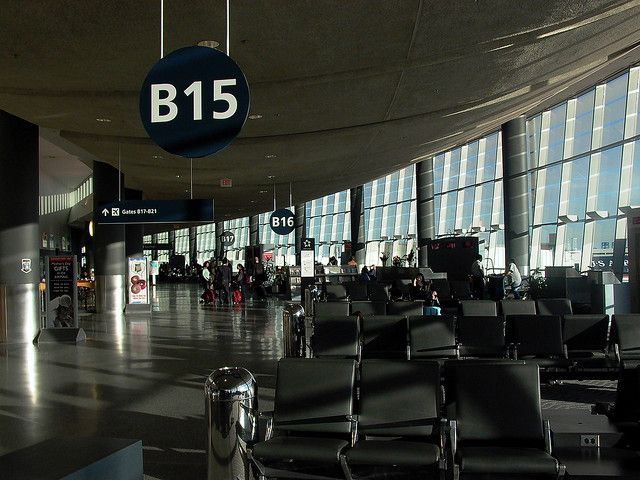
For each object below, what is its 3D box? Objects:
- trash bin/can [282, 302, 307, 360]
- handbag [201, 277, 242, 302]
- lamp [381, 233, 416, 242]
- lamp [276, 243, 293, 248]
[{"bbox_3d":[-0.445,1.506,9.554,0.429,0.842,0.368,-1,-3,6],"label":"trash bin/can"},{"bbox_3d":[-3.957,2.082,23.046,1.105,0.551,1.392,1,-19,-8],"label":"handbag"},{"bbox_3d":[4.560,-0.151,33.671,0.190,0.298,2.031,12,-10,-36],"label":"lamp"},{"bbox_3d":[-2.640,0.403,43.961,2.255,0.350,0.166,-4,-6,41],"label":"lamp"}]
